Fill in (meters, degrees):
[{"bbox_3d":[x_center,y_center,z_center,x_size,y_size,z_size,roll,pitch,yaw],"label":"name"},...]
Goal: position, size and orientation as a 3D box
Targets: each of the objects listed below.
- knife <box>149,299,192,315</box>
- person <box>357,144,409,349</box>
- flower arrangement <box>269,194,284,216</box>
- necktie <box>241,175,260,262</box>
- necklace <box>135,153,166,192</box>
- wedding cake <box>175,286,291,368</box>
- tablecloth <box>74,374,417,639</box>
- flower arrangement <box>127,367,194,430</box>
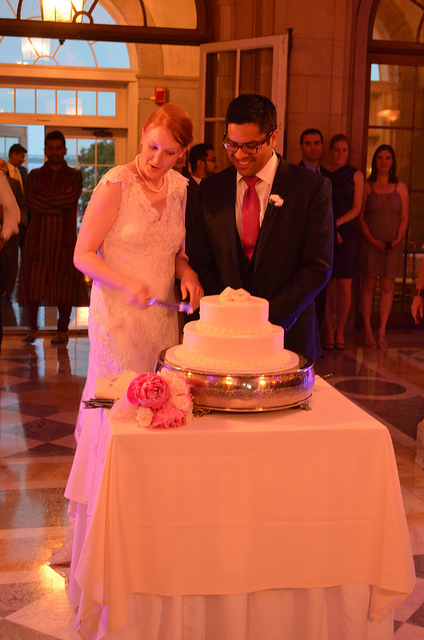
[{"bbox_3d":[-0.137,-0.045,1.890,0.107,0.020,0.023,18,40,32],"label":"knife"},{"bbox_3d":[1.829,-0.815,6.460,0.434,2.140,0.699,5,9,30],"label":"person"},{"bbox_3d":[0.200,-0.372,1.938,0.044,0.053,0.054,15,51,-5],"label":"flower arrangement"},{"bbox_3d":[0.131,-0.343,1.989,0.059,0.288,0.022,4,11,22],"label":"necktie"},{"bbox_3d":[-0.206,-0.476,1.937,0.103,0.139,0.023,2,-15,-42],"label":"necklace"},{"bbox_3d":[0.057,0.009,1.432,0.268,0.175,0.281,-2,8,-15],"label":"wedding cake"},{"bbox_3d":[0.050,0.383,1.200,0.504,0.307,0.541,-1,6,-8],"label":"tablecloth"},{"bbox_3d":[-0.106,0.163,1.208,0.111,0.117,0.055,-2,-14,-14],"label":"flower arrangement"}]
